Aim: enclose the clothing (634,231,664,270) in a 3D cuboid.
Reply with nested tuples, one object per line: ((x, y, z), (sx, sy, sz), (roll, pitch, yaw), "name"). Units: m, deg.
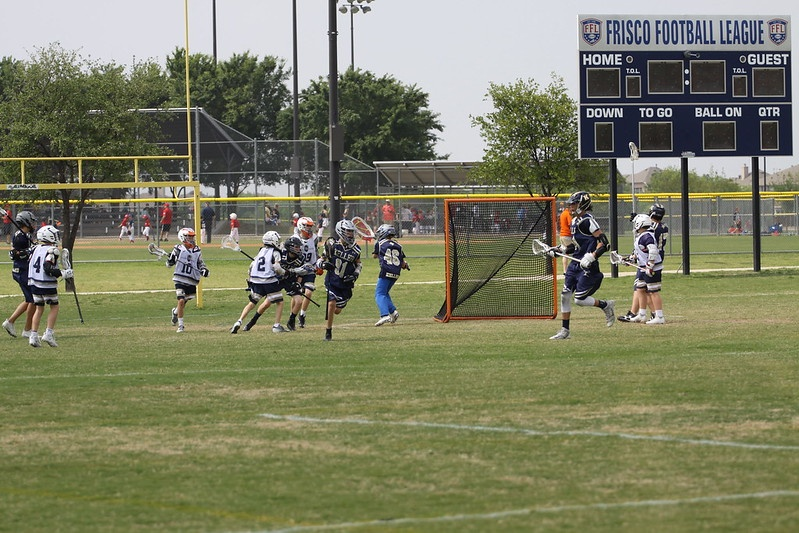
((4.636, -0.296, 21.008), (0.410, 0.431, 0.838), (1, 3, -7), "clothing")

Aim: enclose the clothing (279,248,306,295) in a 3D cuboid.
((-1.997, 0.006, 21.261), (0.520, 0.692, 0.258), (-4, 46, 6), "clothing")

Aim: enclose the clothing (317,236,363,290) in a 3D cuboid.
((-1.086, -0.039, 19.931), (0.702, 0.632, 0.447), (1, 1, -4), "clothing")

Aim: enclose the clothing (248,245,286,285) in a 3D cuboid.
((-2.598, -0.061, 20.843), (0.864, 0.639, 0.456), (5, 11, -22), "clothing")

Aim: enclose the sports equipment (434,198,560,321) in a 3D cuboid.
((1.741, -0.138, 23.139), (3.182, 2.495, 1.372), (0, 4, 42), "sports equipment")

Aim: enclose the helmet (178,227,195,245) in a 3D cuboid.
((-4.194, -0.578, 21.644), (0.444, 0.330, 0.341), (-3, 2, 8), "helmet")

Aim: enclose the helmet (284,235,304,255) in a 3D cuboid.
((-1.954, -0.395, 21.004), (0.419, 0.268, 0.297), (-2, 7, 5), "helmet")

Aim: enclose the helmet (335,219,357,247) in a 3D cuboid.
((-1.033, -0.612, 20.162), (0.507, 0.401, 0.384), (-1, 3, 35), "helmet")

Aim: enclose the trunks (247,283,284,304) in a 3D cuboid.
((-2.485, 0.474, 20.824), (0.508, 0.352, 0.193), (2, 10, 9), "trunks")

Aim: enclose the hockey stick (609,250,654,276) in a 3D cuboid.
((4.342, -0.070, 21.164), (0.783, 0.158, 0.316), (11, -27, 22), "hockey stick")

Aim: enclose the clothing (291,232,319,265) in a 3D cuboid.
((-1.840, -0.332, 21.456), (0.430, 0.663, 0.732), (-1, 0, 29), "clothing")

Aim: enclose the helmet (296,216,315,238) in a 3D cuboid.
((-1.911, -0.764, 21.901), (0.519, 0.392, 0.378), (-1, 1, 31), "helmet")

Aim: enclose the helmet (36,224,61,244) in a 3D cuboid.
((-6.059, -0.561, 19.412), (0.451, 0.352, 0.328), (-11, 19, -35), "helmet")

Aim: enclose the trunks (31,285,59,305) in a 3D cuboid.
((-6.044, 0.489, 19.082), (0.434, 0.332, 0.369), (1, 1, -19), "trunks")

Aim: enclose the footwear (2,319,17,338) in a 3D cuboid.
((-7.107, 1.108, 20.442), (0.182, 0.354, 0.127), (-37, 38, 7), "footwear")

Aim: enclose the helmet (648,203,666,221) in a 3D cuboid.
((5.055, -1.033, 21.951), (0.346, 0.298, 0.364), (4, 15, -10), "helmet")

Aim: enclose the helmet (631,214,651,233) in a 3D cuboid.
((4.480, -0.817, 21.127), (0.432, 0.330, 0.318), (8, 11, 34), "helmet")

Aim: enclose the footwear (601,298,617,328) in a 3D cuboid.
((3.810, 0.837, 20.300), (0.305, 0.567, 0.211), (-10, 19, 1), "footwear")

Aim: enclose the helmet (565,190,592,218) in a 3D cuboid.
((3.096, -1.077, 19.302), (0.538, 0.409, 0.382), (7, 2, 8), "helmet")

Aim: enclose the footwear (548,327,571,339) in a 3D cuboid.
((2.726, 1.138, 19.343), (0.445, 0.161, 0.137), (-3, 8, 7), "footwear")

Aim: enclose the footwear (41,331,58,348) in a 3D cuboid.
((-5.990, 1.229, 19.196), (0.330, 0.221, 0.105), (29, 15, -37), "footwear")

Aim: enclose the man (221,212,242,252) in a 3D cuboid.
((-6.863, -1.481, 45.798), (0.979, 1.339, 0.872), (-4, 5, -34), "man")

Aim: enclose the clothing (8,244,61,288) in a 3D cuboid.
((-6.017, 0.004, 19.237), (0.827, 0.685, 0.519), (10, 5, 42), "clothing")
